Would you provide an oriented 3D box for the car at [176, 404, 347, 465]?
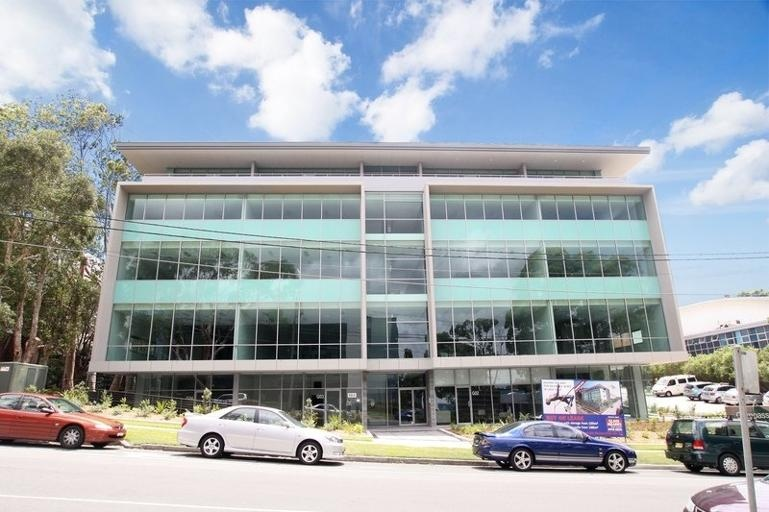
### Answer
[{"bbox_3d":[-4.378,6.613,17.633,5.786,1.642,2.312,1,-19,-2],"label":"car"}]

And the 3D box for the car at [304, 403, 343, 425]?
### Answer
[{"bbox_3d":[-4.643,11.291,34.226,3.056,1.265,0.955,5,-37,-35],"label":"car"}]

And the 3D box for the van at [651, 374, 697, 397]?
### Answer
[{"bbox_3d":[30.932,14.240,51.567,4.729,1.882,2.409,0,-12,8],"label":"van"}]
